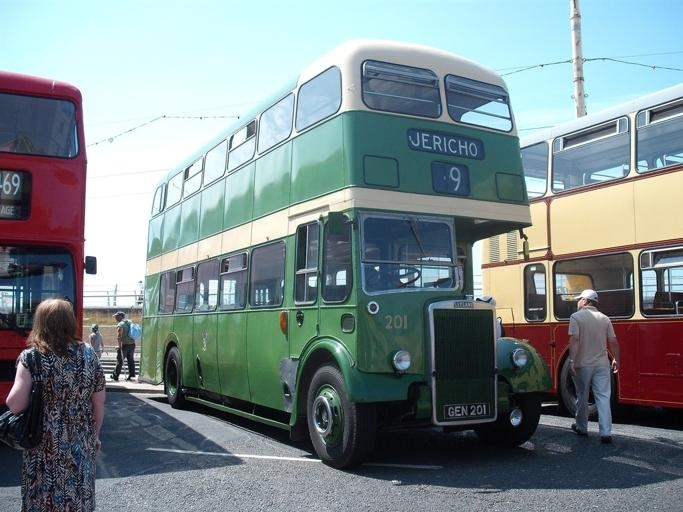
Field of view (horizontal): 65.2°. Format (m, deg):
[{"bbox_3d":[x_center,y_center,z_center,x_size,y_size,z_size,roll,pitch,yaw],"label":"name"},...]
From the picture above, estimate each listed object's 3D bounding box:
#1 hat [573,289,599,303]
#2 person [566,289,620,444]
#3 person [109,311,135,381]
[{"bbox_3d":[4.199,0.694,9.306,0.371,0.290,0.538,3,-3,-14],"label":"hat"},{"bbox_3d":[4.131,1.775,8.799,0.762,2.414,0.720,-5,-8,35],"label":"person"},{"bbox_3d":[-8.058,3.324,19.750,0.761,2.593,0.799,0,3,-45],"label":"person"}]
